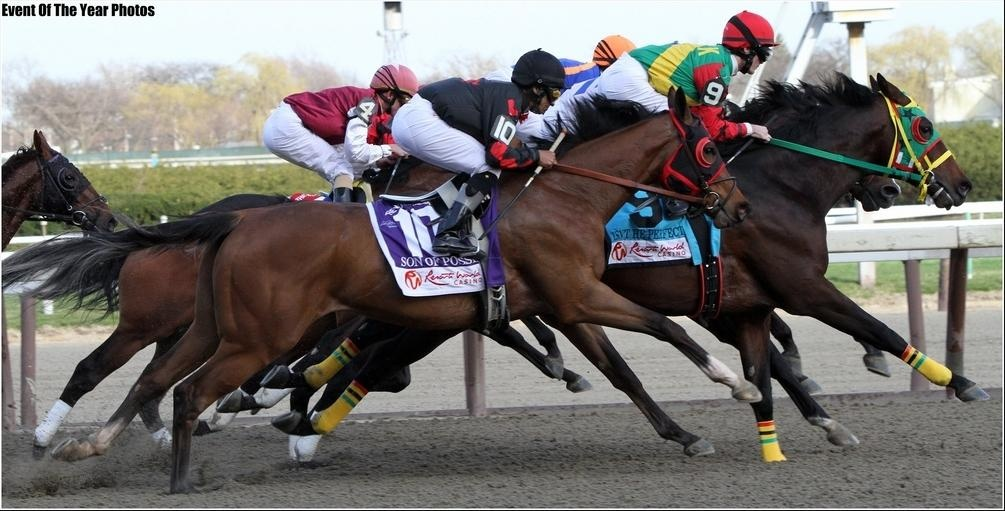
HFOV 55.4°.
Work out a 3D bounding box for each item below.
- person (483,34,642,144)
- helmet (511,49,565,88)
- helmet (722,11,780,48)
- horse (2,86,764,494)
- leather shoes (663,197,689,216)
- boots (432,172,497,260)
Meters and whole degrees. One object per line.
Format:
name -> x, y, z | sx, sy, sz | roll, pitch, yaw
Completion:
person -> 0.626, -1.624, 8.791 | 0.345, 0.694, 1.571 | -24, 27, -39
helmet -> 0.252, -1.368, 7.146 | 0.484, 0.295, 0.305 | 3, 10, -13
helmet -> 2.000, -1.836, 7.676 | 0.519, 0.230, 0.328 | 7, 28, 12
horse -> -0.797, 0.222, 6.987 | 5.073, 2.688, 0.913 | -2, 14, -5
leather shoes -> 1.291, -0.369, 7.119 | 0.188, 0.056, 0.121 | 0, 43, 4
boots -> -0.253, -0.294, 6.855 | 0.544, 0.580, 0.220 | -6, 14, -17
